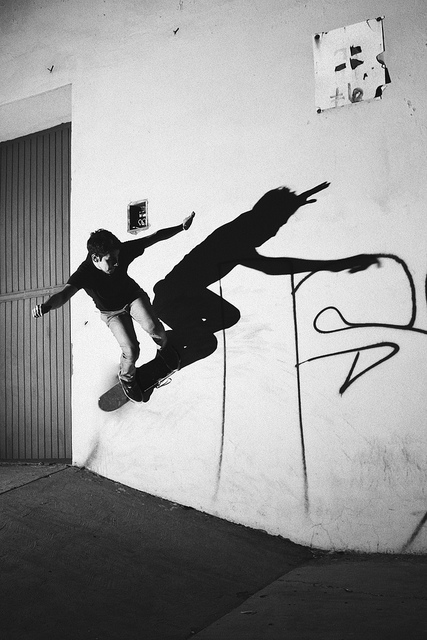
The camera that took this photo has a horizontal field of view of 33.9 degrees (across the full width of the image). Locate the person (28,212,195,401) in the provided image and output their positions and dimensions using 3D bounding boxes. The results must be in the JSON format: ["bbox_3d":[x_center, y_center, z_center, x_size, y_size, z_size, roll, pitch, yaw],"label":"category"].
[{"bbox_3d":[-0.620,-0.077,5.071,1.300,1.357,0.432,-36,38,-22],"label":"person"}]
